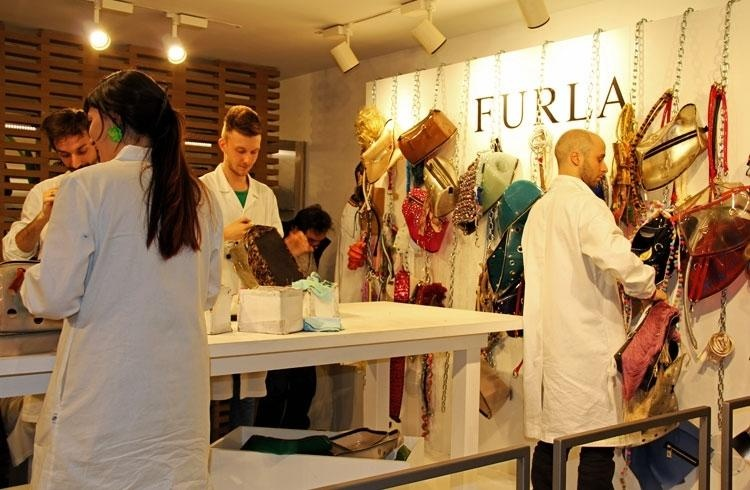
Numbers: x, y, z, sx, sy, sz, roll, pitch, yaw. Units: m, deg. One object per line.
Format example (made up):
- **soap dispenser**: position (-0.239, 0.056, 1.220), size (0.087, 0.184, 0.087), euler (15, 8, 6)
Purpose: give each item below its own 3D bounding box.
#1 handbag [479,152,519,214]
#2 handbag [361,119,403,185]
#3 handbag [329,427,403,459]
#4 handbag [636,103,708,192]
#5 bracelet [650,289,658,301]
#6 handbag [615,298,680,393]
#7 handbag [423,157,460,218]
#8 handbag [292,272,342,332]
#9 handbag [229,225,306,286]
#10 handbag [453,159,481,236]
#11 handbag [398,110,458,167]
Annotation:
- **handbag**: position (0.800, -0.413, 4.484), size (0.087, 0.369, 0.259), euler (22, -1, -39)
- **handbag**: position (0.055, -0.693, 4.998), size (0.160, 0.317, 0.408), euler (8, -40, -26)
- **handbag**: position (-0.066, 0.996, 3.365), size (0.214, 0.086, 0.272), euler (-13, 4, 40)
- **handbag**: position (1.674, -0.609, 3.841), size (0.424, 0.394, 0.174), euler (-14, 20, -2)
- **bracelet**: position (1.478, 0.265, 3.544), size (0.043, 0.042, 0.042), euler (0, 10, -4)
- **handbag**: position (1.435, 0.505, 3.518), size (0.152, 0.458, 0.342), euler (9, -33, 47)
- **handbag**: position (0.455, -0.404, 4.690), size (0.135, 0.376, 0.283), euler (-7, 18, -34)
- **handbag**: position (-0.244, 0.260, 3.286), size (0.152, 0.208, 0.178), euler (0, 14, 0)
- **handbag**: position (-0.555, 0.053, 3.399), size (0.201, 0.331, 0.235), euler (-35, -26, 15)
- **handbag**: position (0.623, -0.320, 4.540), size (0.104, 0.416, 0.263), euler (-5, 18, -28)
- **handbag**: position (0.403, -0.778, 4.836), size (0.427, 0.260, 0.323), euler (-25, 12, 43)
